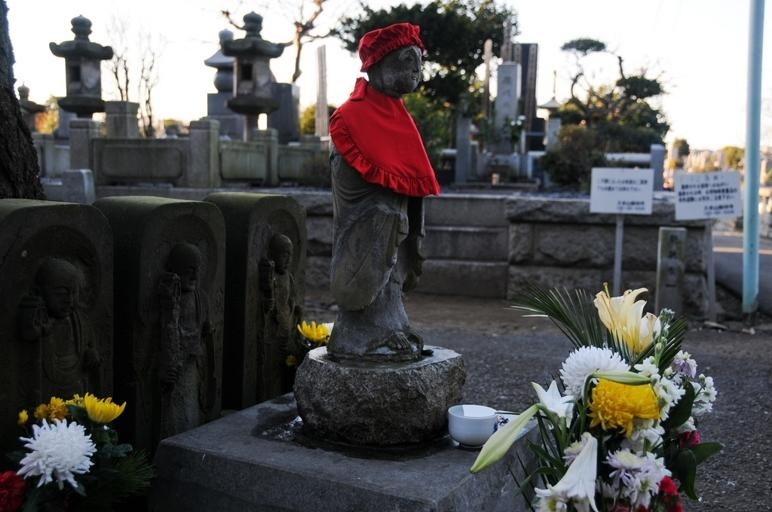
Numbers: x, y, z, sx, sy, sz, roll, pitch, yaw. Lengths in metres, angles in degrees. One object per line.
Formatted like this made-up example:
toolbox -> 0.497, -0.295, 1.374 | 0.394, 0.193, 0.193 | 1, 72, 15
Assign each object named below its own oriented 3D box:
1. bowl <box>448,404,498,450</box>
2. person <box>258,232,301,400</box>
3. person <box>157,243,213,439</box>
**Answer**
bowl -> 0.587, 1.148, 6.334 | 0.290, 0.196, 0.246 | 4, -5, 2
person -> -0.836, 0.473, 7.510 | 0.188, 1.305, 0.477 | 4, 9, 32
person -> -1.443, 0.586, 6.787 | 0.156, 1.363, 0.509 | 6, 10, 40
